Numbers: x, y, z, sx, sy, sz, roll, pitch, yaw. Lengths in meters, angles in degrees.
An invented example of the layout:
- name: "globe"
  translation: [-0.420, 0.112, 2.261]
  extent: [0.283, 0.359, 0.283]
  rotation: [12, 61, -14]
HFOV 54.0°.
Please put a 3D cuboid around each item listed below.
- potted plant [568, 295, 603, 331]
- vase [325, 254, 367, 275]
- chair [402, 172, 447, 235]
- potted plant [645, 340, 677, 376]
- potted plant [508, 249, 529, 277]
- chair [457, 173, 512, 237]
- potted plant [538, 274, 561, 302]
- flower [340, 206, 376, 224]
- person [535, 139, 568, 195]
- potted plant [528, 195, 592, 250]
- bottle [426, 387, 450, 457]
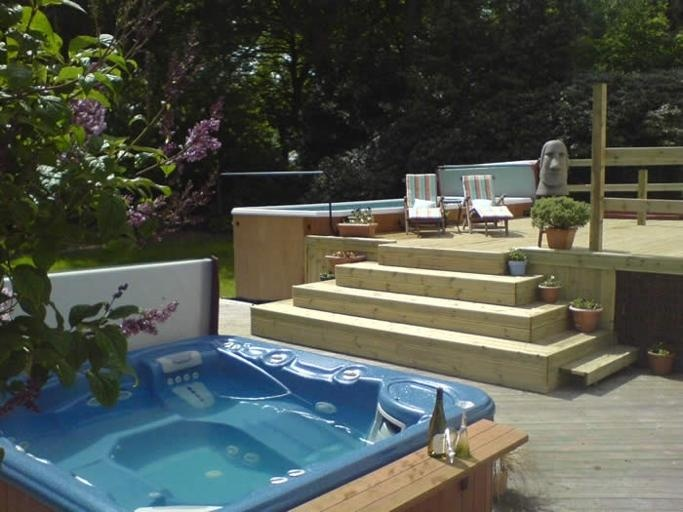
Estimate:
- name: "potted plant"
  translation: [2.494, 0.591, 6.932]
  extent: [0.297, 0.326, 0.322]
  rotation: [0, -1, -2]
- name: "vase"
  translation: [0.040, 0.071, 9.115]
  extent: [0.360, 0.178, 0.321]
  rotation: [3, 5, 32]
- name: "chair"
  translation: [1.236, -0.821, 10.262]
  extent: [0.487, 0.722, 1.036]
  rotation: [0, 17, 5]
- name: "potted plant"
  translation: [3.185, 1.024, 6.730]
  extent: [0.255, 0.234, 0.280]
  rotation: [-1, 2, 2]
- name: "potted plant"
  translation: [1.856, 0.091, 7.279]
  extent: [0.229, 0.319, 0.245]
  rotation: [0, -1, -3]
- name: "chair"
  translation: [2.167, -0.809, 10.217]
  extent: [0.529, 0.910, 1.233]
  rotation: [-2, 10, -2]
- name: "potted plant"
  translation: [2.163, 0.340, 7.089]
  extent: [0.224, 0.288, 0.251]
  rotation: [0, 1, -1]
- name: "flower"
  translation: [0.238, -0.582, 9.783]
  extent: [0.416, 0.245, 0.648]
  rotation: [-2, 14, -2]
- name: "person"
  translation: [3.195, -1.294, 10.038]
  extent: [0.445, 0.839, 0.453]
  rotation: [8, -8, -26]
- name: "potted plant"
  translation: [2.402, -0.393, 7.377]
  extent: [0.561, 0.644, 0.550]
  rotation: [2, 9, 31]
- name: "bottle"
  translation: [0.539, 0.912, 3.794]
  extent: [0.102, 0.415, 0.182]
  rotation: [0, 13, 8]
